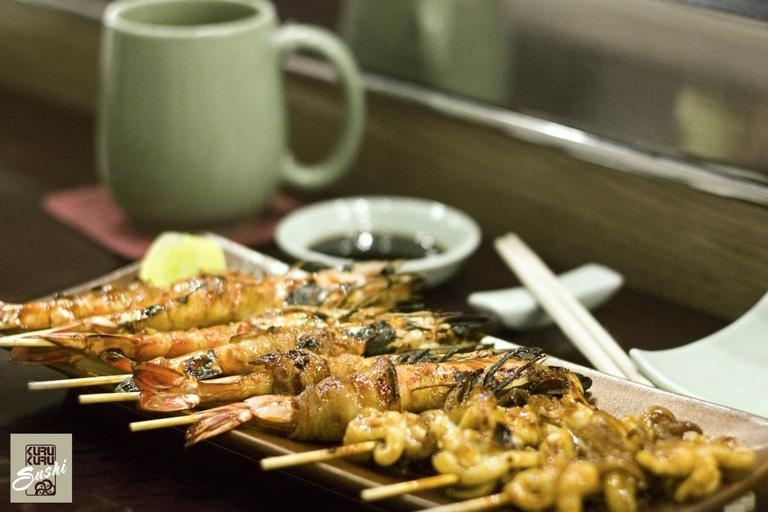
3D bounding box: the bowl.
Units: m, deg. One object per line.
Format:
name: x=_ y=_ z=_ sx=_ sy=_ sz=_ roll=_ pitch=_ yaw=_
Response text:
bowl: x=-0.025 y=-0.163 z=3.406 sx=1.166 sy=0.366 sz=0.997 roll=-9 pitch=15 yaw=-22
